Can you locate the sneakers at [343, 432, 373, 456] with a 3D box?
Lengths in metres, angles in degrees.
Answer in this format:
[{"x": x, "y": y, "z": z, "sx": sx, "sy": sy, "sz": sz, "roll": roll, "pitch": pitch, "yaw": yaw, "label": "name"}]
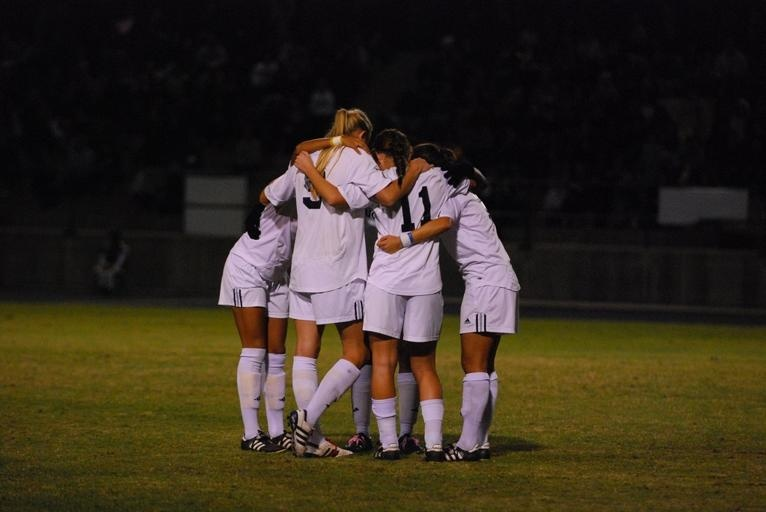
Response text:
[{"x": -0.505, "y": 3.800, "z": 32.130, "sx": 0.647, "sy": 0.285, "sz": 0.280, "roll": 1, "pitch": 4, "yaw": 2, "label": "sneakers"}]
